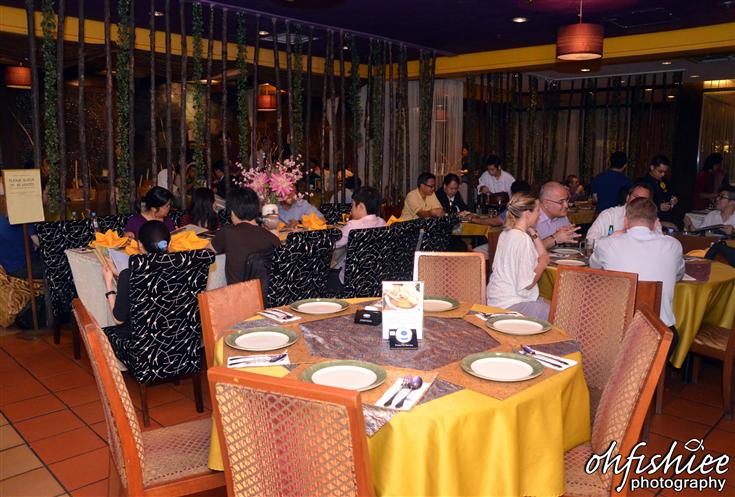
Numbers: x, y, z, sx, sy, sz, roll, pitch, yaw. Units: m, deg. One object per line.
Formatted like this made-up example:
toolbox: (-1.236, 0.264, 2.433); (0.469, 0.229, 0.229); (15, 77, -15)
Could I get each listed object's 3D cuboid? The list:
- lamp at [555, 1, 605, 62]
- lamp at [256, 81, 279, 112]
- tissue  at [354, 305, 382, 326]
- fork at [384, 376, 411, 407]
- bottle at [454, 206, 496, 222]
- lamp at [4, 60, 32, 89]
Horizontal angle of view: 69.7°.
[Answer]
lamp: (2.464, -2.518, 6.059); (0.470, 0.668, 0.825); (8, 16, 24)
lamp: (-2.089, -3.120, 10.884); (0.381, 0.539, 1.466); (-2, 14, -12)
tissue : (0.006, 0.388, 3.030); (0.115, 0.050, 0.155); (1, 2, 8)
fork: (0.135, 0.633, 2.324); (0.052, 0.032, 0.190); (-3, 21, 26)
bottle: (1.452, -0.459, 7.105); (0.418, 0.096, 0.414); (0, 7, 0)
lamp: (-5.574, -2.750, 8.404); (0.356, 0.389, 0.686); (-8, 17, -33)
